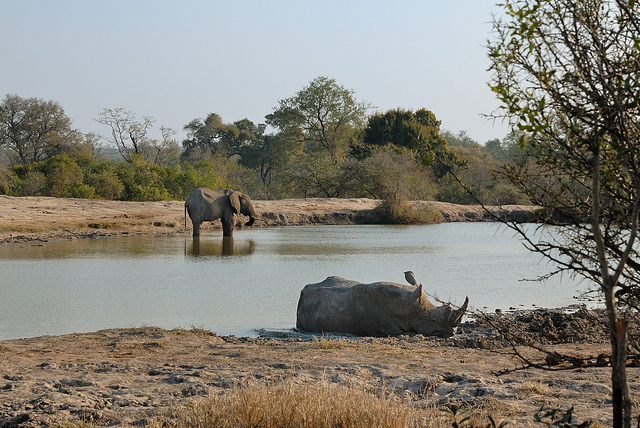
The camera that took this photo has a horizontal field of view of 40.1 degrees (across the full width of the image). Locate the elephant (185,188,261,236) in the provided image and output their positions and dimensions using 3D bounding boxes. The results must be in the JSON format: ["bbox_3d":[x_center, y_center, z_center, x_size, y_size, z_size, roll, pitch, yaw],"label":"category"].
[{"bbox_3d":[-4.678,-0.114,40.933,1.651,2.176,3.369,2,1,35],"label":"elephant"}]
